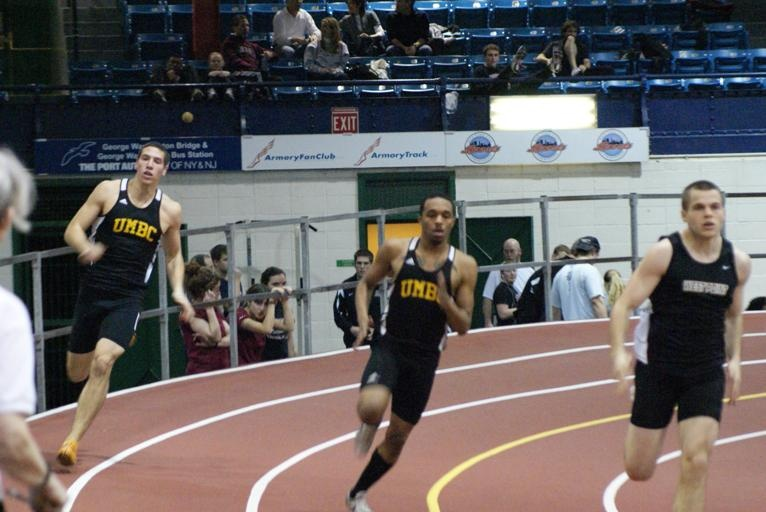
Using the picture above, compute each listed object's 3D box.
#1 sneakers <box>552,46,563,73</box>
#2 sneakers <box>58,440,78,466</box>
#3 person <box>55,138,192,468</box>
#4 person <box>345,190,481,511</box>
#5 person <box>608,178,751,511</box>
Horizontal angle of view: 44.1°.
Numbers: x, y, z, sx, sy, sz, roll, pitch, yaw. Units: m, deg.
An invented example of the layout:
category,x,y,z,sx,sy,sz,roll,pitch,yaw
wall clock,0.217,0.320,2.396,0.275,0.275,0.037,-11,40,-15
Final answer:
category,x,y,z,sx,sy,sz,roll,pitch,yaw
sneakers,3.294,-3.686,17.815,0.177,0.550,0.219,-1,6,-2
sneakers,-3.426,2.132,10.202,0.205,0.336,0.153,8,7,-21
person,-2.981,0.657,10.639,1.408,3.203,0.929,-2,5,-20
person,0.263,1.010,9.786,1.330,3.241,0.781,-1,4,-2
person,2.927,0.833,9.221,1.357,3.109,0.902,0,4,8
